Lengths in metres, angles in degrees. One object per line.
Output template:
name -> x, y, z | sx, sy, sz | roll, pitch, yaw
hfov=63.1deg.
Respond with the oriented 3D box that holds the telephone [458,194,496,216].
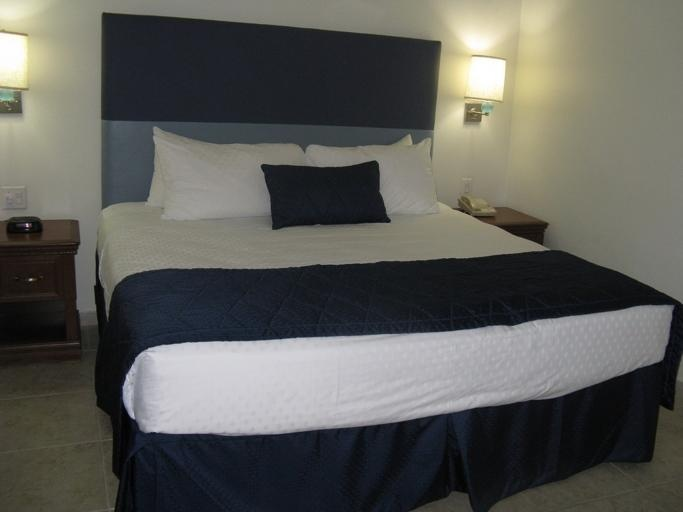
telephone -> 0.958, -0.391, 4.020 | 0.148, 0.086, 0.224 | 0, 13, -10
